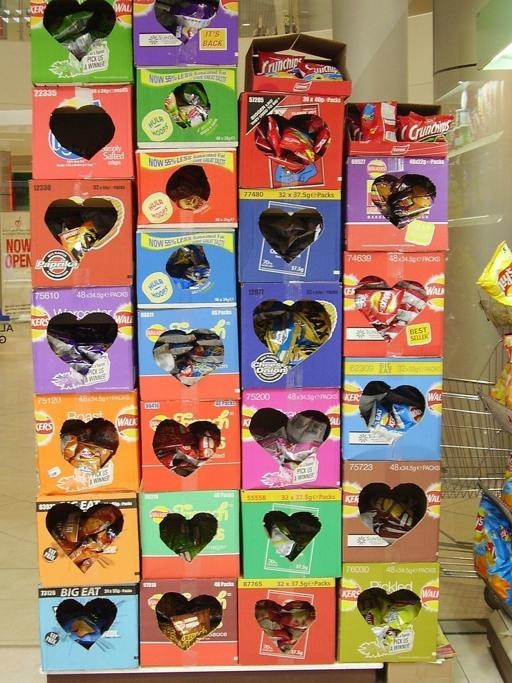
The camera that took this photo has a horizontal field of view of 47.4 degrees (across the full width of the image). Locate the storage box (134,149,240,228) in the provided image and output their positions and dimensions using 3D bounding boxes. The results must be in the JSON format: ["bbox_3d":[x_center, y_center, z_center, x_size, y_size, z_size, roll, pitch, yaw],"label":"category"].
[{"bbox_3d":[-0.202,-0.428,1.701,0.290,0.153,0.190,-2,-89,-9],"label":"storage box"}]

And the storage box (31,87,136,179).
[{"bbox_3d":[-0.485,-0.578,1.621,0.283,0.103,0.300,0,-86,5],"label":"storage box"}]

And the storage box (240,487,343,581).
[{"bbox_3d":[0.097,0.595,1.803,0.317,0.173,0.254,3,-105,-8],"label":"storage box"}]

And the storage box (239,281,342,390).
[{"bbox_3d":[0.104,-0.015,1.674,0.301,0.117,0.296,-3,-66,-6],"label":"storage box"}]

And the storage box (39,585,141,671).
[{"bbox_3d":[-0.491,0.842,1.715,0.285,0.105,0.271,1,-66,-8],"label":"storage box"}]

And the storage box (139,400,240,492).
[{"bbox_3d":[-0.218,0.304,1.752,0.306,0.100,0.248,3,-102,-29],"label":"storage box"}]

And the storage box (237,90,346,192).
[{"bbox_3d":[0.099,-0.553,1.632,0.284,0.088,0.249,0,-66,-7],"label":"storage box"}]

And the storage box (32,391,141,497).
[{"bbox_3d":[-0.461,0.298,1.834,0.335,0.305,0.289,-4,-94,14],"label":"storage box"}]

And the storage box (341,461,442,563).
[{"bbox_3d":[0.403,0.509,1.744,0.350,0.182,0.306,0,-92,0],"label":"storage box"}]

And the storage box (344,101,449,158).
[{"bbox_3d":[0.390,-0.618,1.728,0.300,0.114,0.163,2,-87,-3],"label":"storage box"}]

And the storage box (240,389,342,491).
[{"bbox_3d":[0.101,0.290,1.707,0.327,0.107,0.301,0,-95,-2],"label":"storage box"}]

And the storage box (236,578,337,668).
[{"bbox_3d":[0.099,0.839,1.744,0.303,0.112,0.258,-1,-66,-7],"label":"storage box"}]

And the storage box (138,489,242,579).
[{"bbox_3d":[-0.198,0.569,1.715,0.281,0.101,0.258,-1,-66,-7],"label":"storage box"}]

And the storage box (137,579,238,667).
[{"bbox_3d":[-0.216,0.819,1.725,0.299,0.094,0.234,-1,-90,-1],"label":"storage box"}]

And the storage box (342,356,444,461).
[{"bbox_3d":[0.395,0.186,1.713,0.314,0.166,0.293,-4,-88,4],"label":"storage box"}]

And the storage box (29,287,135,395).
[{"bbox_3d":[-0.496,-0.006,1.647,0.319,0.170,0.288,0,-84,-2],"label":"storage box"}]

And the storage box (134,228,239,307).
[{"bbox_3d":[-0.188,-0.192,1.679,0.394,0.203,0.265,0,-91,-2],"label":"storage box"}]

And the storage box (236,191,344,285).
[{"bbox_3d":[0.094,-0.301,1.662,0.286,0.107,0.247,-2,-66,-7],"label":"storage box"}]

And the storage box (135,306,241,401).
[{"bbox_3d":[-0.197,0.033,1.664,0.293,0.094,0.249,0,-93,-2],"label":"storage box"}]

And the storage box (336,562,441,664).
[{"bbox_3d":[0.396,0.812,1.747,0.335,0.171,0.288,0,-95,0],"label":"storage box"}]

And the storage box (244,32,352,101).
[{"bbox_3d":[0.119,-0.790,1.681,0.277,0.187,0.155,-1,-66,-6],"label":"storage box"}]

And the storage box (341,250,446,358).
[{"bbox_3d":[0.396,-0.104,1.693,0.285,0.131,0.291,-1,-66,-7],"label":"storage box"}]

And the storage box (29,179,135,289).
[{"bbox_3d":[-0.557,-0.326,1.685,0.320,0.176,0.299,-14,-67,-45],"label":"storage box"}]

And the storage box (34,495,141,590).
[{"bbox_3d":[-0.485,0.594,1.742,0.311,0.097,0.253,-7,-112,8],"label":"storage box"}]

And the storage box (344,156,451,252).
[{"bbox_3d":[0.448,-0.406,1.716,0.113,0.327,0.268,-16,-70,-42],"label":"storage box"}]
